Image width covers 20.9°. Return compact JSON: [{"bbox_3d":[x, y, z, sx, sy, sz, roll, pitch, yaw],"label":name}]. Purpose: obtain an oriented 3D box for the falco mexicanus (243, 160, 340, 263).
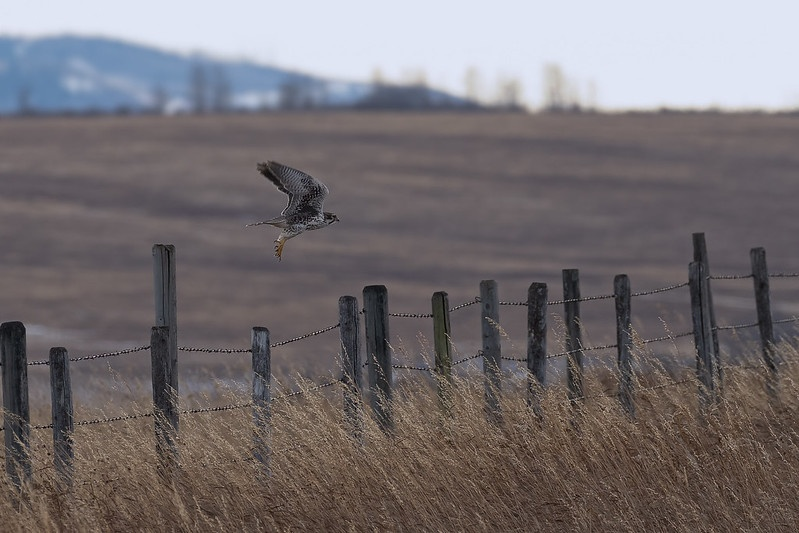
[{"bbox_3d":[-1.528,-0.768,31.951,0.895,1.470,1.151,1,8,3],"label":"falco mexicanus"}]
